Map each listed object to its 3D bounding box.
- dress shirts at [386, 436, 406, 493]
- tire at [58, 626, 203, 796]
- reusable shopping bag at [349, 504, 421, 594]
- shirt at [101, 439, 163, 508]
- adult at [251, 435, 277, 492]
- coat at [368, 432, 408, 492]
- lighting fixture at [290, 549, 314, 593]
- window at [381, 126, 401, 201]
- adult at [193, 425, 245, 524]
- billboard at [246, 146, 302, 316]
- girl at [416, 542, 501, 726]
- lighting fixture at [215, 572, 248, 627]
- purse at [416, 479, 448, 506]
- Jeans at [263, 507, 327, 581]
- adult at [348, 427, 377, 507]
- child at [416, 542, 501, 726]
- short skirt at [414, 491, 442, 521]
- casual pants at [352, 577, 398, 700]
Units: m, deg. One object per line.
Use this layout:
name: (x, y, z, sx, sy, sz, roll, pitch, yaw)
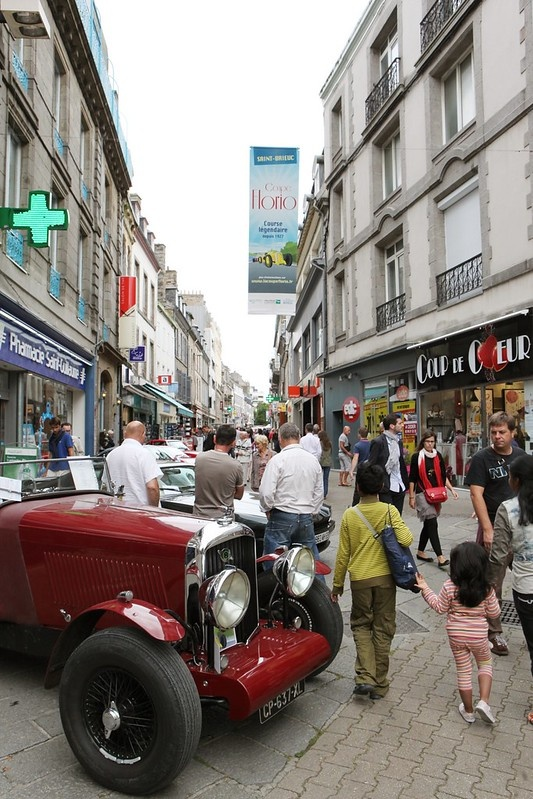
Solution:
dress shirts: (1.531, 0.749, 6.988, 0.243, 0.742, 0.222, -12, -43, 25)
tire: (-0.555, 1.287, 2.422, 0.480, 0.640, 0.178, 11, 6, 25)
reusable shopping bag: (0.753, 0.821, 3.399, 0.139, 0.560, 0.186, -25, 3, -35)
shirt: (-1.066, 0.600, 4.762, 0.623, 0.742, 0.309, -1, -1, 23)
adult: (-0.083, 1.151, 9.101, 0.315, 1.160, 0.304, 6, -12, -9)
coat: (1.390, 0.696, 6.916, 0.445, 0.721, 0.223, -7, 13, -6)
lighting fixture: (0.185, 0.948, 3.301, 0.069, 0.223, 0.194, -4, 8, 29)
window: (3.531, -6.509, 16.700, 0.068, 1.744, 1.154, 10, 25, 34)
adult: (-0.364, 0.722, 4.670, 0.313, 1.305, 0.347, 12, 38, 5)
billboard: (0.128, -4.134, 14.816, 1.185, 3.778, 1.527, 1, -6, -3)
girl: (1.048, 1.223, 3.240, 0.390, 0.896, 0.433, -4, -7, 36)
lighting fixture: (-0.151, 0.850, 2.556, 0.043, 0.237, 0.263, -2, -7, 26)
purse: (1.862, 0.950, 6.623, 0.323, 0.298, 0.163, -1, -17, -23)
Jeans: (0.214, 1.004, 4.376, 0.337, 0.505, 0.182, -1, 24, -3)
adult: (1.704, 1.279, 11.112, 0.448, 1.553, 0.347, -10, 16, -40)
child: (1.048, 1.223, 3.240, 0.390, 0.896, 0.433, -4, -7, 36)
short skirt: (1.826, 1.227, 6.811, 0.229, 0.522, 0.399, -9, -12, 22)
casual pants: (0.600, 1.350, 3.380, 0.241, 0.651, 0.223, -1, -6, 9)
